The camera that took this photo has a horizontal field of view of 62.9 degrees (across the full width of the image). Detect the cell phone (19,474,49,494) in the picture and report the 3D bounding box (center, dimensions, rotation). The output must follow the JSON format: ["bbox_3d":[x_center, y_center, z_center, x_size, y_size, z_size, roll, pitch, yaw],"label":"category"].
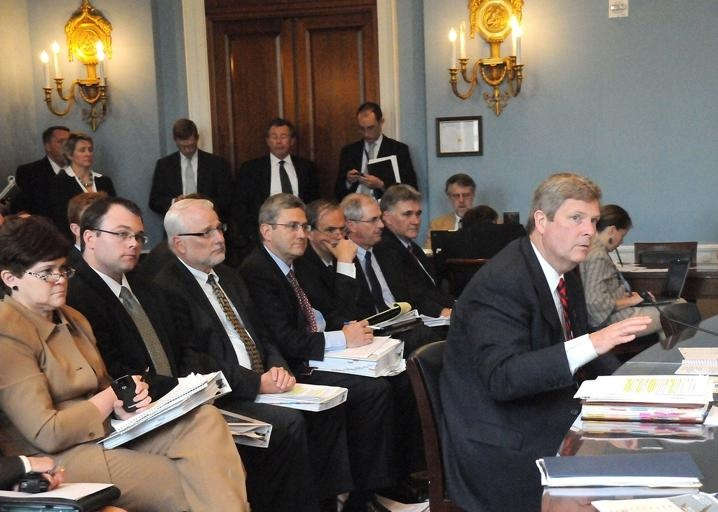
[{"bbox_3d":[-1.056,0.739,1.898,0.066,0.048,0.062,2,-9,1],"label":"cell phone"}]

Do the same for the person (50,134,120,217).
[{"bbox_3d":[-2.411,-0.669,5.149,0.471,0.763,0.553,1,0,24],"label":"person"}]

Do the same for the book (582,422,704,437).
[{"bbox_3d":[0.864,0.522,1.759,0.135,0.015,0.125,2,-2,-6],"label":"book"}]

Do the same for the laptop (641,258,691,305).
[{"bbox_3d":[2.267,0.179,4.247,0.305,0.264,0.358,-10,-2,-11],"label":"laptop"}]

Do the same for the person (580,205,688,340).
[{"bbox_3d":[1.815,0.196,4.002,0.627,1.074,0.568,-3,17,13],"label":"person"}]

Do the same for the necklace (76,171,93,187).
[{"bbox_3d":[-2.391,-0.649,5.125,0.104,0.141,0.056,-12,-23,-20],"label":"necklace"}]

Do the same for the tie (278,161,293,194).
[{"bbox_3d":[-0.698,-0.742,5.518,0.111,0.300,0.095,0,14,25],"label":"tie"}]

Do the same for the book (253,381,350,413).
[{"bbox_3d":[-0.270,0.662,2.777,0.399,0.092,0.208,2,14,31],"label":"book"}]

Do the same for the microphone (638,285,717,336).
[{"bbox_3d":[1.953,0.335,3.589,0.267,0.459,0.291,-9,-2,-35],"label":"microphone"}]

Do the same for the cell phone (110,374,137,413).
[{"bbox_3d":[-0.906,0.526,2.272,0.086,0.147,0.036,-12,-27,-25],"label":"cell phone"}]

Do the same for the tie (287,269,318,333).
[{"bbox_3d":[-0.337,0.277,3.535,0.089,0.330,0.240,-24,28,9],"label":"tie"}]

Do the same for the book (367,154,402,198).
[{"bbox_3d":[0.259,-0.741,5.498,0.352,0.360,0.098,-6,8,9],"label":"book"}]

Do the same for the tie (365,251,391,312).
[{"bbox_3d":[0.106,0.213,4.157,0.094,0.530,0.075,-19,-6,-2],"label":"tie"}]

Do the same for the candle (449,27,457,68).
[{"bbox_3d":[0.887,-1.944,5.507,0.070,0.386,0.204,-3,13,10],"label":"candle"}]

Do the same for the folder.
[{"bbox_3d":[-0.755,0.526,2.259,0.338,0.101,0.349,-30,-2,37],"label":"folder"}]

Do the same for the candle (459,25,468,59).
[{"bbox_3d":[0.975,-2.022,5.532,0.068,0.325,0.142,-1,13,20],"label":"candle"}]

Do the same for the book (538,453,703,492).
[{"bbox_3d":[0.690,0.565,1.545,0.217,0.031,0.175,-3,2,7],"label":"book"}]

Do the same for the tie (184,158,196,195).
[{"bbox_3d":[-1.615,-0.753,5.586,0.134,0.295,0.120,-9,13,-14],"label":"tie"}]

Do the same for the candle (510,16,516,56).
[{"bbox_3d":[1.433,-2.021,5.417,0.059,0.350,0.242,-3,13,13],"label":"candle"}]

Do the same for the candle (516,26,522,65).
[{"bbox_3d":[1.482,-1.944,5.439,0.054,0.343,0.266,-2,13,17],"label":"candle"}]
